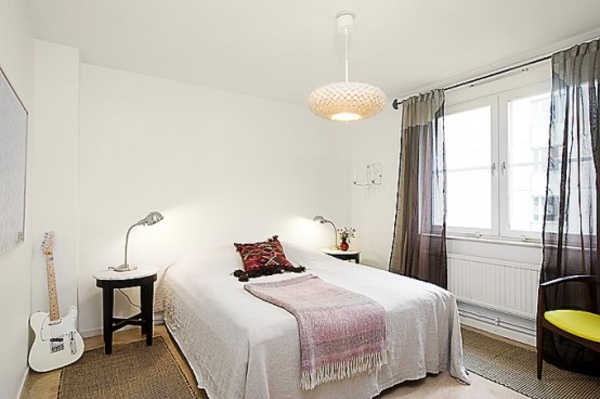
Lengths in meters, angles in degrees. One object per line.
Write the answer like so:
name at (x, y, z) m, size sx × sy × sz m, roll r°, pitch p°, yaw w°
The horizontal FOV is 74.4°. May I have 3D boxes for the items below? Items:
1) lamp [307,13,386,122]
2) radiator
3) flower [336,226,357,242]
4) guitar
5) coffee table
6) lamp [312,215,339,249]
lamp at (0.376, -1.255, 4.092) m, size 0.867 × 0.990 × 0.898 m, roll 2°, pitch -7°, yaw -15°
radiator at (2.227, 1.007, 4.468) m, size 0.067 × 0.516 × 0.851 m, roll 6°, pitch -4°, yaw -41°
flower at (0.699, 0.527, 5.994) m, size 0.244 × 0.102 × 0.250 m, roll 5°, pitch -12°, yaw -14°
guitar at (-2.530, 1.020, 4.011) m, size 0.471 × 1.566 × 0.298 m, roll -4°, pitch 2°, yaw -33°
coffee table at (-1.867, 1.202, 4.476) m, size 0.786 × 0.928 × 0.793 m, roll 2°, pitch -9°, yaw -33°
lamp at (0.395, 0.478, 5.780) m, size 0.496 × 0.392 × 0.343 m, roll -4°, pitch 1°, yaw -25°
